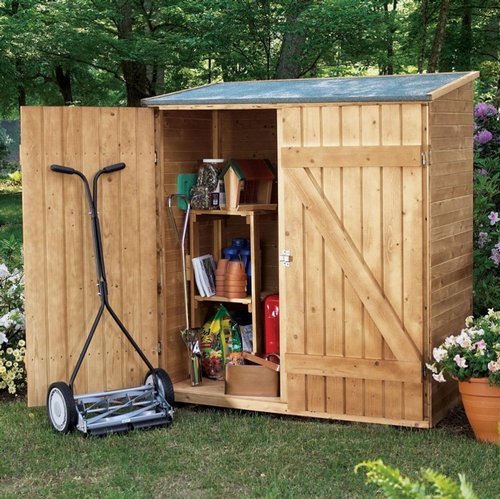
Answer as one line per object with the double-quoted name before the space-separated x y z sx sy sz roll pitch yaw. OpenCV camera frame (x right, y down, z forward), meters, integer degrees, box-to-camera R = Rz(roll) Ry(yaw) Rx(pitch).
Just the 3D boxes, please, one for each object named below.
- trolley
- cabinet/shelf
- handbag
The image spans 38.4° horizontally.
"trolley" -0.911 0.276 4.452 0.778 1.629 0.688 -4 7 -20
"cabinet/shelf" -0.257 0.253 5.245 0.774 1.094 0.636 0 0 -2
"handbag" 0.015 0.826 4.747 0.295 0.175 0.285 -1 -1 5
